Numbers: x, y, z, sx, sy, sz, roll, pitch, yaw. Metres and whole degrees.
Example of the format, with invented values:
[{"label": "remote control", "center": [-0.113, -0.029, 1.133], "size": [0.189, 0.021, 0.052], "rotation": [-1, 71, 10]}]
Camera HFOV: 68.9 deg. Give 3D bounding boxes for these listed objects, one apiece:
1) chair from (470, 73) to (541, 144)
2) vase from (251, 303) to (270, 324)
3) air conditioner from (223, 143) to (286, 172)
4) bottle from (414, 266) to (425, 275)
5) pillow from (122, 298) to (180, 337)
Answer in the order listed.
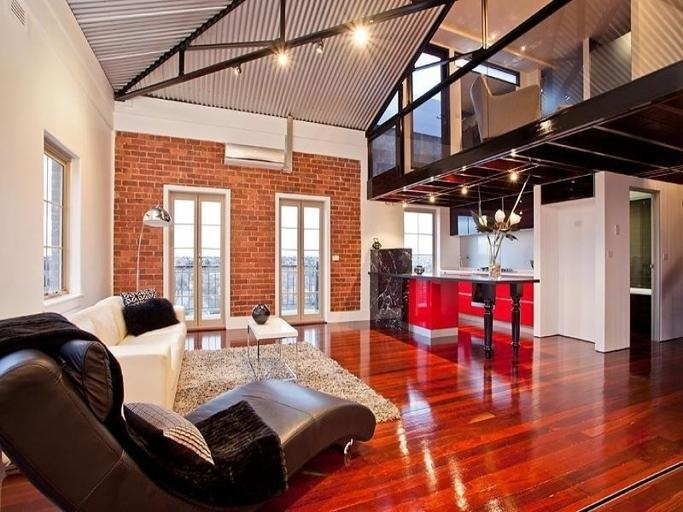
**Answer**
[{"label": "chair", "center": [1.984, -1.838, 6.132], "size": [0.684, 0.825, 0.616], "rotation": [-2, 1, 7]}, {"label": "vase", "center": [-0.939, 0.672, 5.874], "size": [0.236, 0.286, 0.239], "rotation": [-6, -8, 42]}, {"label": "air conditioner", "center": [-1.405, -1.631, 8.177], "size": [1.023, 0.437, 0.109], "rotation": [-7, 15, -23]}, {"label": "bottle", "center": [1.217, 0.213, 7.723], "size": [0.146, 0.151, 0.154], "rotation": [-1, 1, -12]}, {"label": "pillow", "center": [-2.266, 0.682, 5.833], "size": [0.166, 0.360, 0.569], "rotation": [-31, -7, 23]}]
